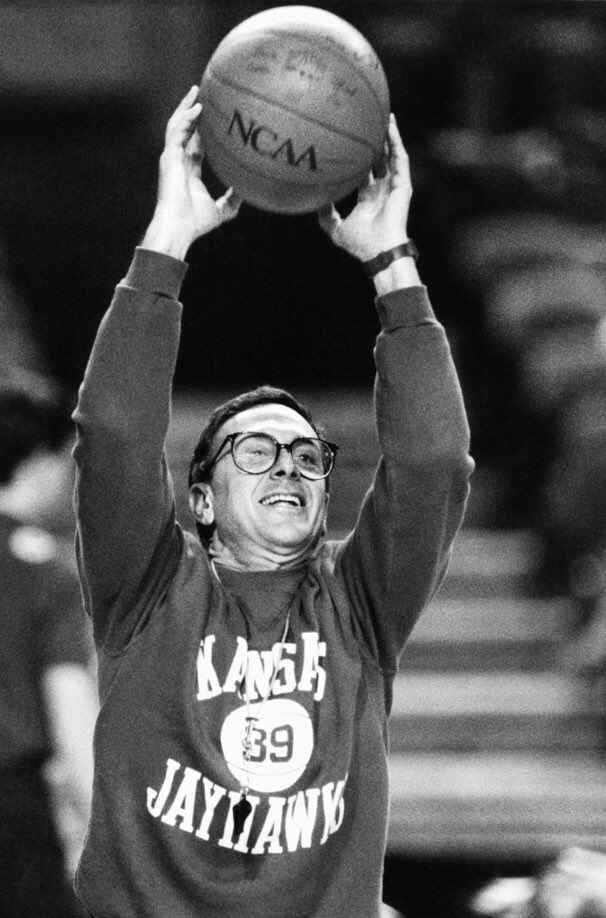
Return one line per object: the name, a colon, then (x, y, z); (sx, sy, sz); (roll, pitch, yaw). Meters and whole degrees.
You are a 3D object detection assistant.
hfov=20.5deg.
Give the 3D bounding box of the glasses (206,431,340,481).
glasses: (-0.047, -0.012, 3.041); (0.120, 0.124, 0.041); (4, 62, -11)
